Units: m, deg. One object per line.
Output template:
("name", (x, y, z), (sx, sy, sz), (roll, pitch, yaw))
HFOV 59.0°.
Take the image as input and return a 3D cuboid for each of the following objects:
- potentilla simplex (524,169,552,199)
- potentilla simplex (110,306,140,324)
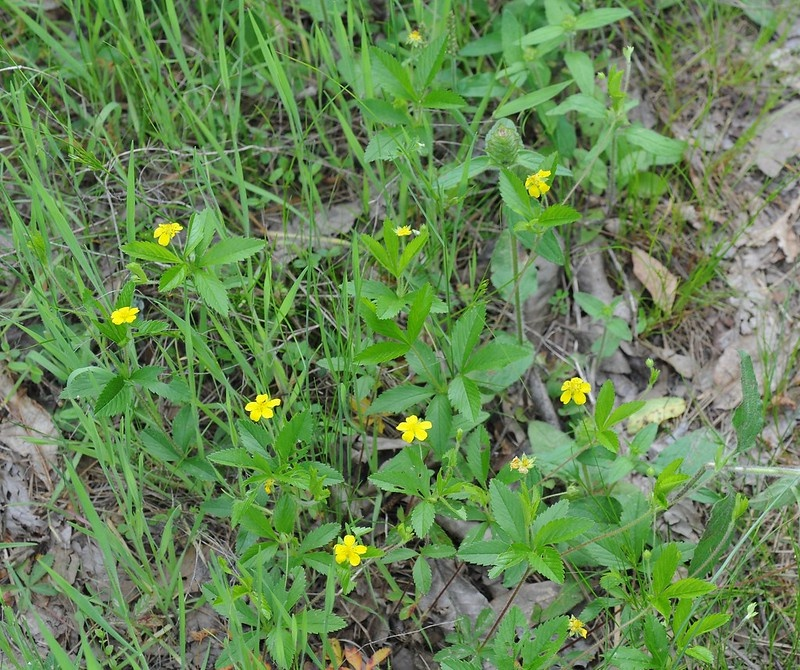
("potentilla simplex", (0.518, -0.565, 2.677), (0.085, 0.043, 0.126), (-4, 96, -10))
("potentilla simplex", (-0.973, -0.049, 2.536), (0.068, 0.024, 0.078), (27, 57, 10))
